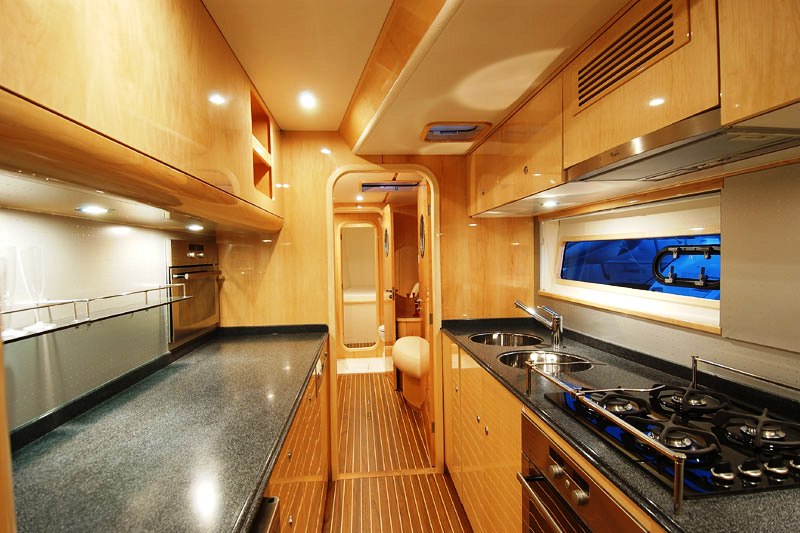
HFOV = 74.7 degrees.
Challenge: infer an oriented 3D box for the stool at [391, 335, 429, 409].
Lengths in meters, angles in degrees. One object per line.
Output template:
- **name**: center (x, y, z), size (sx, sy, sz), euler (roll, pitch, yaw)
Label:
- **stool**: center (0.091, 0.921, 4.514), size (0.403, 0.512, 0.715), euler (3, 5, -2)
